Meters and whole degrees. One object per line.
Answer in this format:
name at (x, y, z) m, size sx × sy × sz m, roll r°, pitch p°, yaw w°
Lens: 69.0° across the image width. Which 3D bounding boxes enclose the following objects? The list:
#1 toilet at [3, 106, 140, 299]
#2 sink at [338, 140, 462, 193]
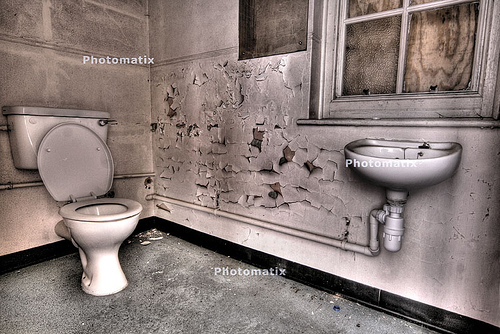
toilet at (-1.181, 0.201, 2.549) m, size 0.854 × 1.234 × 0.590 m, roll 9°, pitch 17°, yaw 43°
sink at (0.874, 0.028, 2.124) m, size 0.615 × 0.328 × 0.331 m, roll 3°, pitch 13°, yaw 24°
